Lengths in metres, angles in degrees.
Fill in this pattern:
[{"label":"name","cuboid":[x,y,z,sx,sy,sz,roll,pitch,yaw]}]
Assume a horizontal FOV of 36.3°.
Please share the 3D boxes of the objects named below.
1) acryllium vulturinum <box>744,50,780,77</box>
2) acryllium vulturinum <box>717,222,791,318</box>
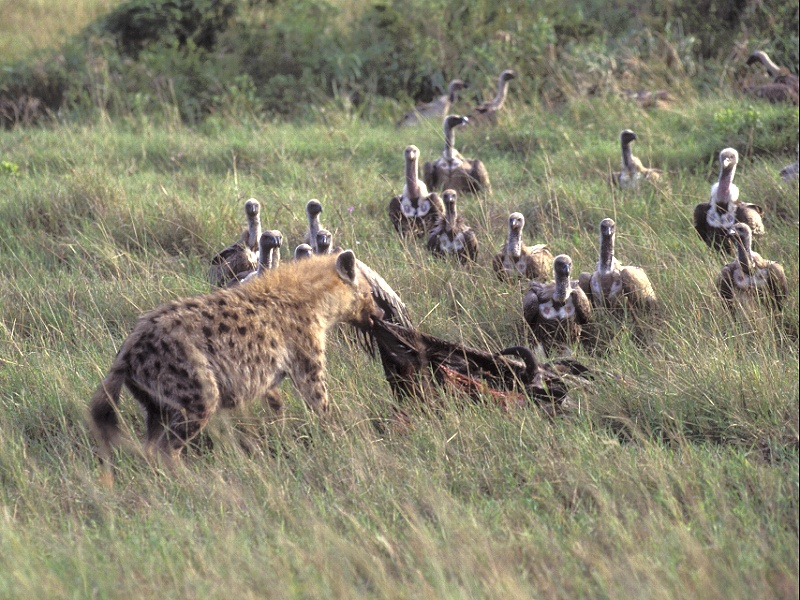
[{"label":"acryllium vulturinum","cuboid":[5.226,-3.450,17.670,0.389,0.283,1.593,29,18,4]},{"label":"acryllium vulturinum","cuboid":[3.304,-0.302,11.458,0.635,0.843,0.378,-1,7,17]}]
